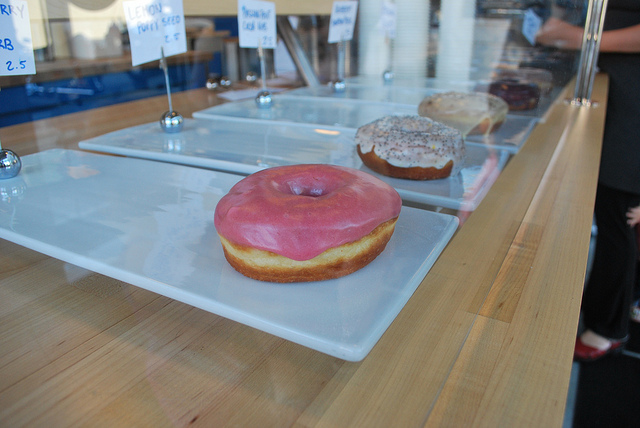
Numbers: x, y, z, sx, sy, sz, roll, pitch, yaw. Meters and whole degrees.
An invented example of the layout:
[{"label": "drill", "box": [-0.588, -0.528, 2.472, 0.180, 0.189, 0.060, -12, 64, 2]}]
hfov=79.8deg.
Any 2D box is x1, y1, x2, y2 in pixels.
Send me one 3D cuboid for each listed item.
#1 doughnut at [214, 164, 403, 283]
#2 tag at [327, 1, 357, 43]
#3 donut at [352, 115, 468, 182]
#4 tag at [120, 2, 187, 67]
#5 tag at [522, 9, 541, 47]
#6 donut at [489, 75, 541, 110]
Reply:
[{"label": "doughnut", "box": [-0.006, 0.014, 0.529, 0.230, 0.089, 0.244, 9, 24, 42]}, {"label": "tag", "box": [0.049, -0.465, 0.931, 0.046, 0.088, 0.084, -11, 29, -19]}, {"label": "donut", "box": [0.173, -0.127, 0.732, 0.209, 0.076, 0.202, 8, 35, 10]}, {"label": "tag", "box": [-0.394, -0.423, 0.894, 0.010, 0.131, 0.186, 16, 23, 16]}, {"label": "tag", "box": [0.422, -0.374, 0.766, 0.008, 0.080, 0.057, 15, 67, 41]}, {"label": "donut", "box": [0.428, -0.262, 0.823, 0.090, 0.028, 0.086, -5, 27, -2]}]
